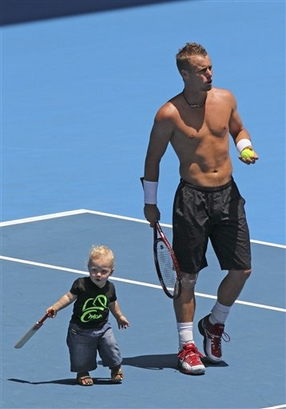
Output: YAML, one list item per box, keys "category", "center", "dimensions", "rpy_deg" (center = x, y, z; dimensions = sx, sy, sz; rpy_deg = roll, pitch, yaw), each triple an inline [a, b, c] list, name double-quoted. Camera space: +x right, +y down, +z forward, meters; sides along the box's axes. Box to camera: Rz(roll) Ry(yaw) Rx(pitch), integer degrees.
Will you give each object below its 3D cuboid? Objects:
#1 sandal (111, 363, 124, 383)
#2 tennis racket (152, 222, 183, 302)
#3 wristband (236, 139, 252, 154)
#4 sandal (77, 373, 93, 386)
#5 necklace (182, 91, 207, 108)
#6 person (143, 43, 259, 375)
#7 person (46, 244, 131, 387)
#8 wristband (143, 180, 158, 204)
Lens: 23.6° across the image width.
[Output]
- category: "sandal"
  center: [-0.176, 1.144, 4.690]
  dimensions: [0.088, 0.133, 0.099]
  rpy_deg: [3, 9, -2]
- category: "tennis racket"
  center: [0.188, 0.436, 5.463]
  dimensions: [0.084, 0.758, 0.229]
  rpy_deg: [-6, -27, -14]
- category: "wristband"
  center: [0.788, -0.475, 5.360]
  dimensions: [0.110, 0.105, 0.107]
  rpy_deg: [-12, 27, 5]
- category: "sandal"
  center: [-0.389, 1.162, 4.580]
  dimensions: [0.107, 0.068, 0.078]
  rpy_deg: [2, 9, -4]
- category: "necklace"
  center: [0.386, -0.773, 5.065]
  dimensions: [0.183, 0.118, 0.103]
  rpy_deg: [2, 9, -9]
- category: "person"
  center: [0.453, 0.027, 5.190]
  dimensions: [0.859, 2.423, 0.846]
  rpy_deg: [1, 10, -10]
- category: "person"
  center: [-0.425, 0.876, 5.262]
  dimensions: [0.853, 1.265, 0.444]
  rpy_deg: [5, -9, -25]
- category: "wristband"
  center: [0.059, -0.102, 5.378]
  dimensions: [0.155, 0.225, 0.154]
  rpy_deg: [-2, 13, -3]
